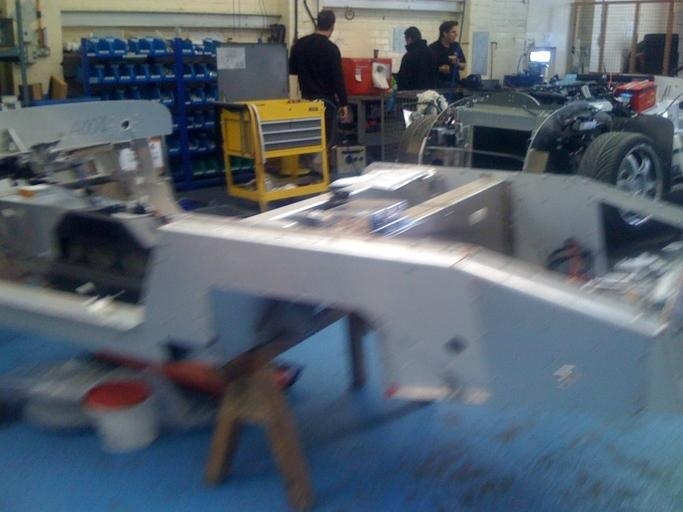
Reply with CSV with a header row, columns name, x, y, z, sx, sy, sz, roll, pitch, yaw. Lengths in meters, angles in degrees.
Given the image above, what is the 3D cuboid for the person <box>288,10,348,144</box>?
name,x,y,z,sx,sy,sz,roll,pitch,yaw
person,-0.306,-2.334,6.738,0.810,1.648,0.558,4,13,-4

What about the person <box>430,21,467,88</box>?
name,x,y,z,sx,sy,sz,roll,pitch,yaw
person,1.662,-3.142,7.989,0.536,1.029,0.848,9,14,14
